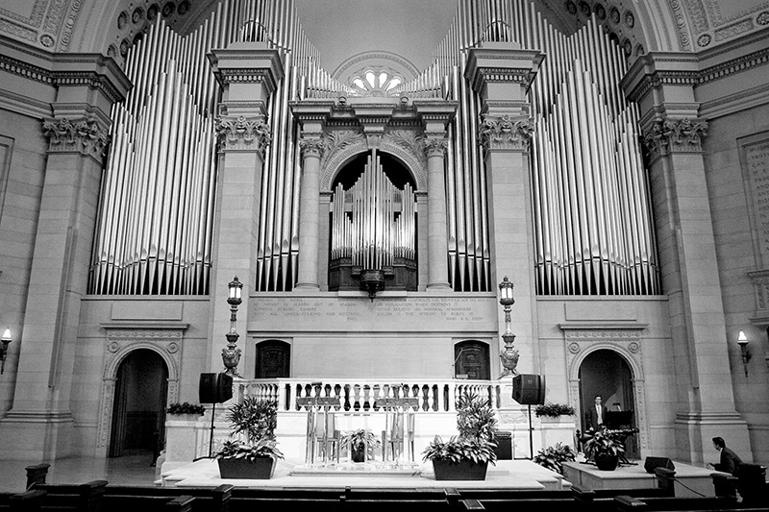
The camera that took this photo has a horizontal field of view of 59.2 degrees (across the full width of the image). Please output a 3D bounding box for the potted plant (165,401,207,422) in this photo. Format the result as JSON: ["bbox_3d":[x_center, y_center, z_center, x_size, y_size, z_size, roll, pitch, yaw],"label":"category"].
[{"bbox_3d":[-5.571,4.302,18.846,0.964,0.471,0.546,4,-14,-13],"label":"potted plant"}]

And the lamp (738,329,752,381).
[{"bbox_3d":[10.559,2.852,19.903,0.348,1.345,0.476,-10,-18,36],"label":"lamp"}]

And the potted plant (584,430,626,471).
[{"bbox_3d":[5.214,4.673,16.499,0.988,0.913,0.971,0,-14,-5],"label":"potted plant"}]

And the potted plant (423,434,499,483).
[{"bbox_3d":[1.589,4.276,14.378,1.439,0.900,0.439,-1,-14,5],"label":"potted plant"}]

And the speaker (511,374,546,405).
[{"bbox_3d":[3.663,3.407,17.335,0.664,0.806,0.894,1,-14,-1],"label":"speaker"}]
